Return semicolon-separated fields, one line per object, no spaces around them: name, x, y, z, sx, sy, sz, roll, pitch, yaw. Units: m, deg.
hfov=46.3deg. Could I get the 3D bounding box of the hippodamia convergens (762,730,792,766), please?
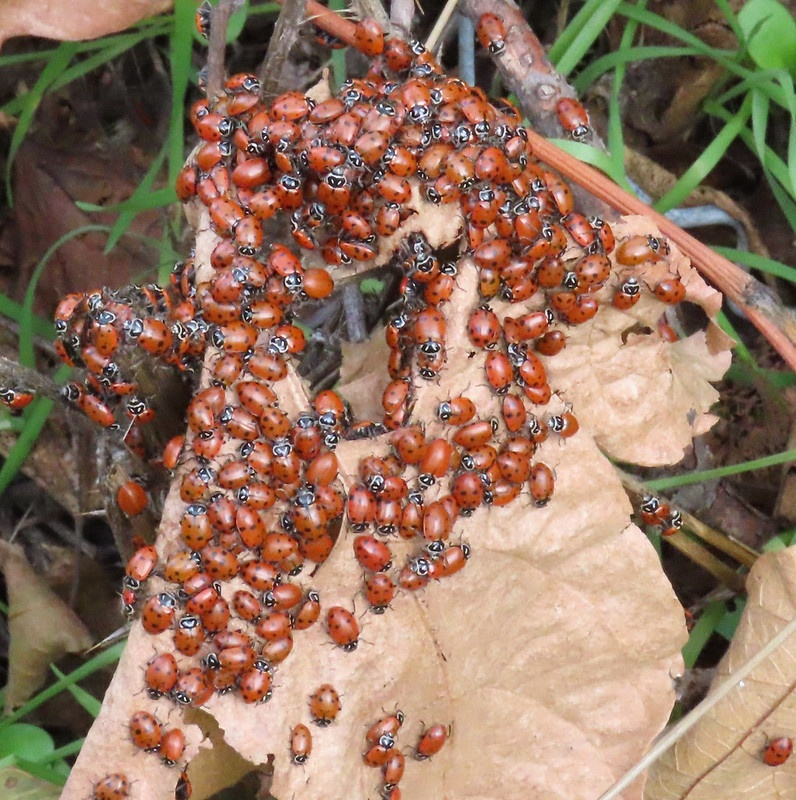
hippodamia convergens;1.046;0.974;2.576;0.091;0.089;0.078;-11;65;-1
